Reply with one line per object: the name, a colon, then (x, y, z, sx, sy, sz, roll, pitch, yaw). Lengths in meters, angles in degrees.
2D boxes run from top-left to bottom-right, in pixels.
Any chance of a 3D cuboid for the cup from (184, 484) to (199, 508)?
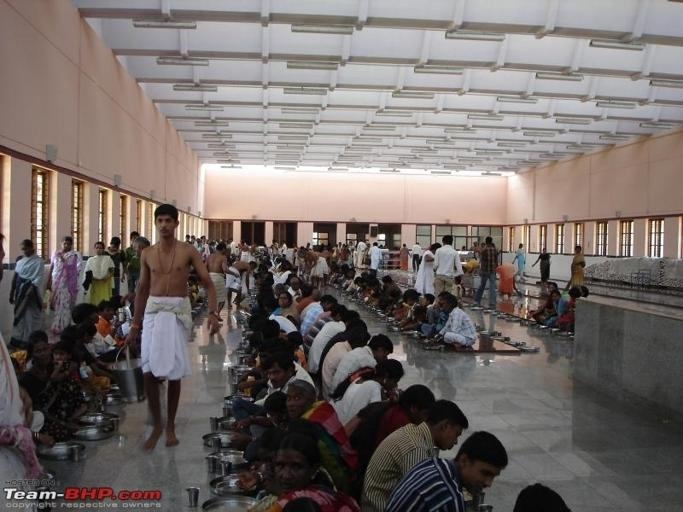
cup: (-1.057, 1.735, 3.339, 0.077, 0.176, 0.140, 2, 1, -15)
